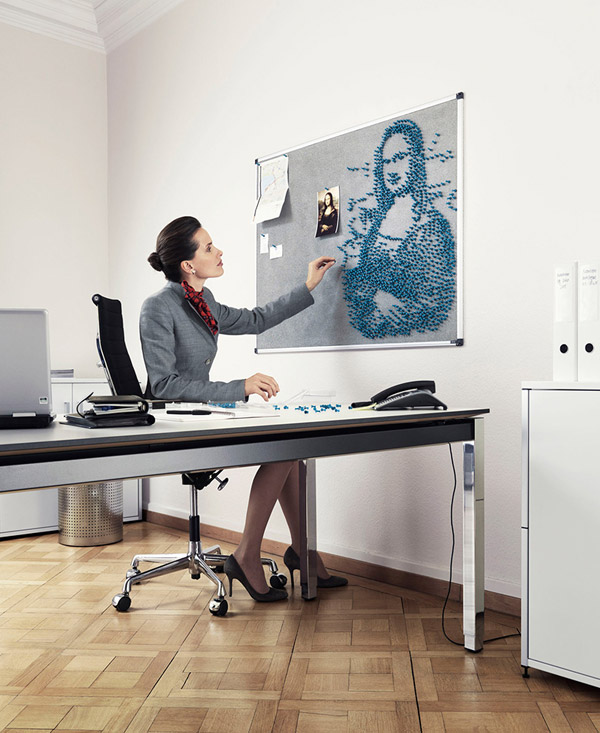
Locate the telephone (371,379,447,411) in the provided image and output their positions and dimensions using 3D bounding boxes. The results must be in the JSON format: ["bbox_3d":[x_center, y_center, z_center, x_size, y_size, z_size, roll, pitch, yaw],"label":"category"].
[{"bbox_3d":[0.316,0.089,1.892,0.147,0.062,0.107,1,-5,-5],"label":"telephone"}]

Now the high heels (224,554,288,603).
[{"bbox_3d":[-0.169,0.798,2.512,0.304,0.196,0.112,3,-6,-10],"label":"high heels"}]

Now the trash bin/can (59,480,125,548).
[{"bbox_3d":[-1.106,0.757,3.470,0.397,0.316,0.389,-3,-4,26],"label":"trash bin/can"}]

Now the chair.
[{"bbox_3d":[-0.403,0.303,2.592,0.766,1.149,0.692,1,1,-13],"label":"chair"}]
